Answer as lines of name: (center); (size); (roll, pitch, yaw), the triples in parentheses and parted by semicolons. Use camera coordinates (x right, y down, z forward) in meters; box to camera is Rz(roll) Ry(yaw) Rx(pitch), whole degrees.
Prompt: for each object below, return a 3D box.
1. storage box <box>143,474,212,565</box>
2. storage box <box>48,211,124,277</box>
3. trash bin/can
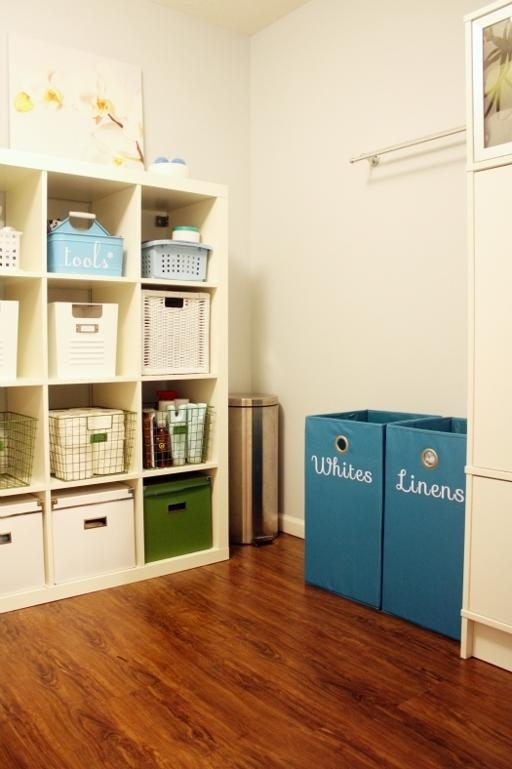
storage box: (-0.376, 0.524, 2.476); (0.334, 0.354, 0.264); (-2, 2, -39)
storage box: (-0.642, -0.487, 2.137); (0.256, 0.238, 0.259); (-2, 7, -34)
trash bin/can: (-0.013, 0.400, 2.685); (0.226, 0.683, 0.120); (0, -1, -8)
